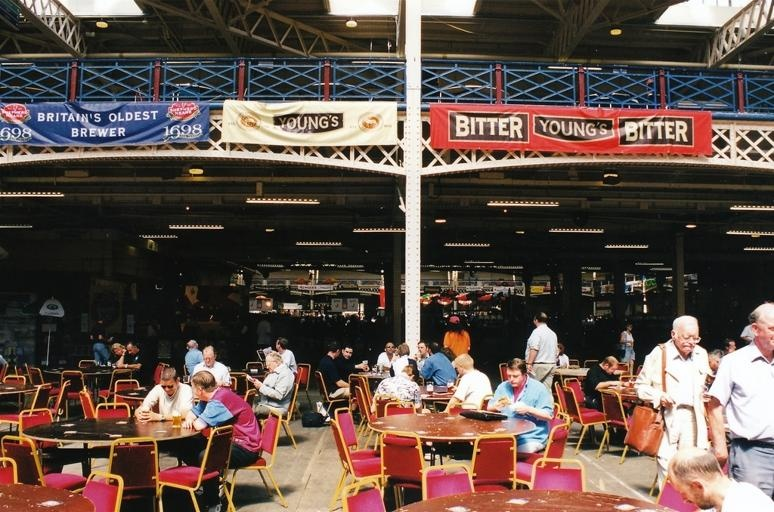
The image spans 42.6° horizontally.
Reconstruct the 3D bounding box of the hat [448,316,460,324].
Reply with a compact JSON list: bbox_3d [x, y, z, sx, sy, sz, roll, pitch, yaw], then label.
[{"bbox_3d":[2.220,2.088,31.803,0.319,0.133,0.422,1,-1,5],"label":"hat"}]

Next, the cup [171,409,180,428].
[{"bbox_3d":[-4.581,3.590,21.571,0.189,0.331,0.246,3,-16,-12],"label":"cup"}]

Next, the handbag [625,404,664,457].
[{"bbox_3d":[5.504,3.699,20.867,0.789,1.024,0.237,-9,-18,31],"label":"handbag"}]
